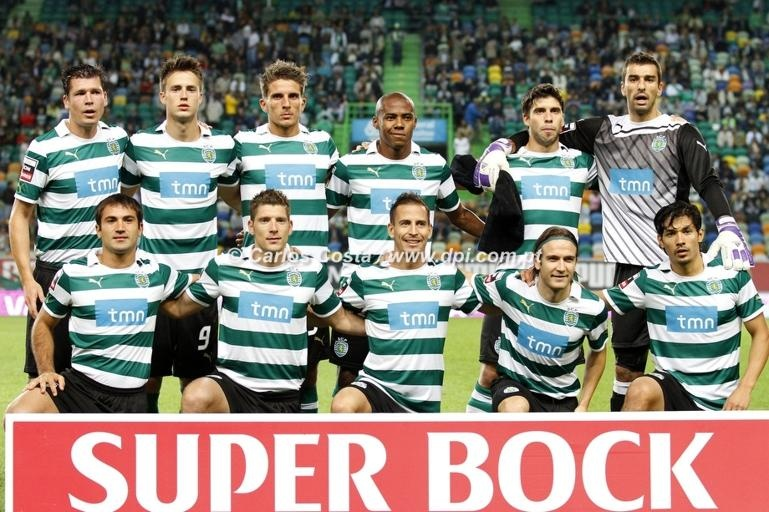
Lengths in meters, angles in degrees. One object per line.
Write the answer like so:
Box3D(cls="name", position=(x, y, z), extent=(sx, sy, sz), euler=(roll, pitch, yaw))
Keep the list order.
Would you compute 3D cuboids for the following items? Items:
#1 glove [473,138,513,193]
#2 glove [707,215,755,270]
Box3D(cls="glove", position=(1.020, -0.879, 8.382), extent=(0.178, 0.468, 0.343), euler=(17, -10, 20))
Box3D(cls="glove", position=(2.981, -0.122, 7.884), extent=(0.371, 0.194, 0.548), euler=(4, 47, 1))
